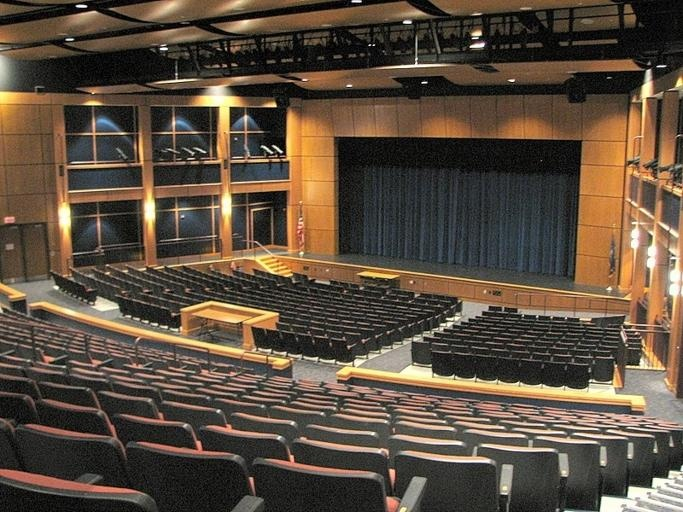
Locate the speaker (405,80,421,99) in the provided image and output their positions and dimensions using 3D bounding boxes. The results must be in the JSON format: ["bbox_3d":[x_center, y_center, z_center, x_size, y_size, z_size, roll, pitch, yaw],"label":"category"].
[{"bbox_3d":[2.954,-6.878,21.939,0.632,0.977,0.537,12,52,19],"label":"speaker"}]

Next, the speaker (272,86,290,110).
[{"bbox_3d":[-2.766,-7.300,24.475,0.664,1.087,1.824,0,1,-3],"label":"speaker"}]

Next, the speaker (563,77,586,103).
[{"bbox_3d":[8.289,-5.901,18.810,0.589,0.801,0.562,0,1,14],"label":"speaker"}]
